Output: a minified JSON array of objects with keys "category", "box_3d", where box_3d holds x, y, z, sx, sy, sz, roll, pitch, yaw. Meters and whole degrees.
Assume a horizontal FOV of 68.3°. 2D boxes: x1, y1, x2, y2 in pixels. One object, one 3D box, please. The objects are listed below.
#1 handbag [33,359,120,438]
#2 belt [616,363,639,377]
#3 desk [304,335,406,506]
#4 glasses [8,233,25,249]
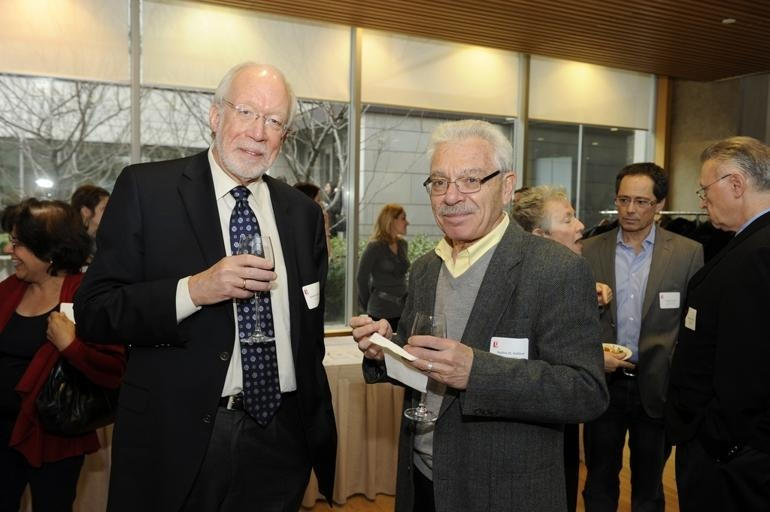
[{"category":"handbag","box_3d":[-1.764,0.778,3.147,0.196,0.424,0.399,-5,-11,31]},{"category":"belt","box_3d":[1.615,0.777,3.787,0.106,0.029,0.108,-2,6,-15]},{"category":"desk","box_3d":[-0.298,1.273,5.038,1.038,1.404,1.081,-2,5,-17]},{"category":"glasses","box_3d":[-2.192,-0.089,3.316,0.067,0.087,0.058,33,3,32]}]
